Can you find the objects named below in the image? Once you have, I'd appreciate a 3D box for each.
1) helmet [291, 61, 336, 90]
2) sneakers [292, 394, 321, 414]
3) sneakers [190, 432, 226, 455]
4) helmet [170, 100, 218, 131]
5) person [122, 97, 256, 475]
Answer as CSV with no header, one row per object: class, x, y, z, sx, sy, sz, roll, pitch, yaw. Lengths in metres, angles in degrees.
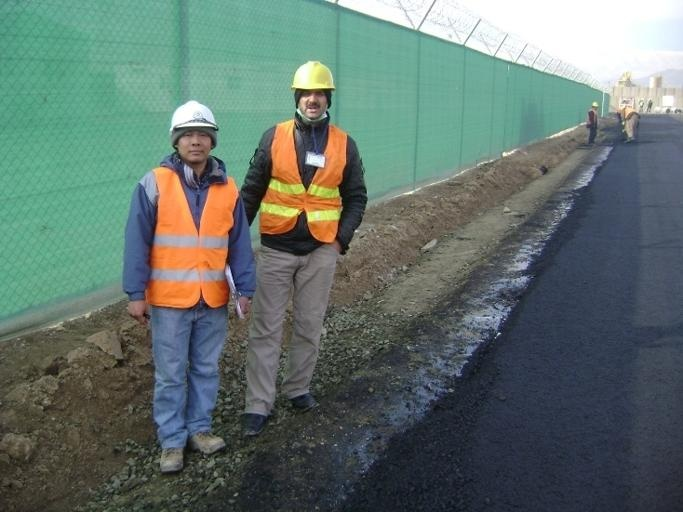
helmet,-0.205,-1.258,3.447,0.219,0.147,0.282,0,18,-3
sneakers,-0.276,1.114,3.695,0.102,0.090,0.194,-23,9,-41
sneakers,-0.894,1.232,3.258,0.225,0.107,0.119,-1,2,37
helmet,-0.920,-0.854,3.015,0.263,0.167,0.175,-5,21,-19
person,-0.938,0.203,3.111,0.818,2.219,0.579,-10,22,-30
